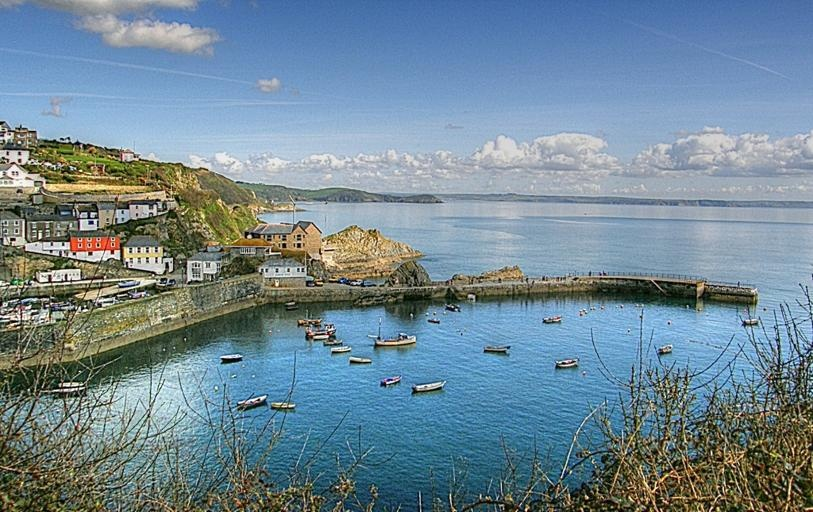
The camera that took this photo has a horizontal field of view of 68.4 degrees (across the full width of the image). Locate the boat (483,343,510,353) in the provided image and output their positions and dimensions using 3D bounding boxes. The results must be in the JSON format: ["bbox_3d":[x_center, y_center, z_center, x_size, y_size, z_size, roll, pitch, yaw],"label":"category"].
[{"bbox_3d":[4.982,5.062,32.977,1.668,0.435,0.507,-1,7,7],"label":"boat"}]

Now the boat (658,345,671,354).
[{"bbox_3d":[14.610,5.219,33.636,0.377,0.195,1.196,4,5,39],"label":"boat"}]

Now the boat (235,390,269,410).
[{"bbox_3d":[-6.598,6.211,25.613,1.001,0.417,1.958,-2,6,13],"label":"boat"}]

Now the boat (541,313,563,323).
[{"bbox_3d":[10.000,4.275,41.040,1.856,0.430,0.552,-2,13,-6],"label":"boat"}]
